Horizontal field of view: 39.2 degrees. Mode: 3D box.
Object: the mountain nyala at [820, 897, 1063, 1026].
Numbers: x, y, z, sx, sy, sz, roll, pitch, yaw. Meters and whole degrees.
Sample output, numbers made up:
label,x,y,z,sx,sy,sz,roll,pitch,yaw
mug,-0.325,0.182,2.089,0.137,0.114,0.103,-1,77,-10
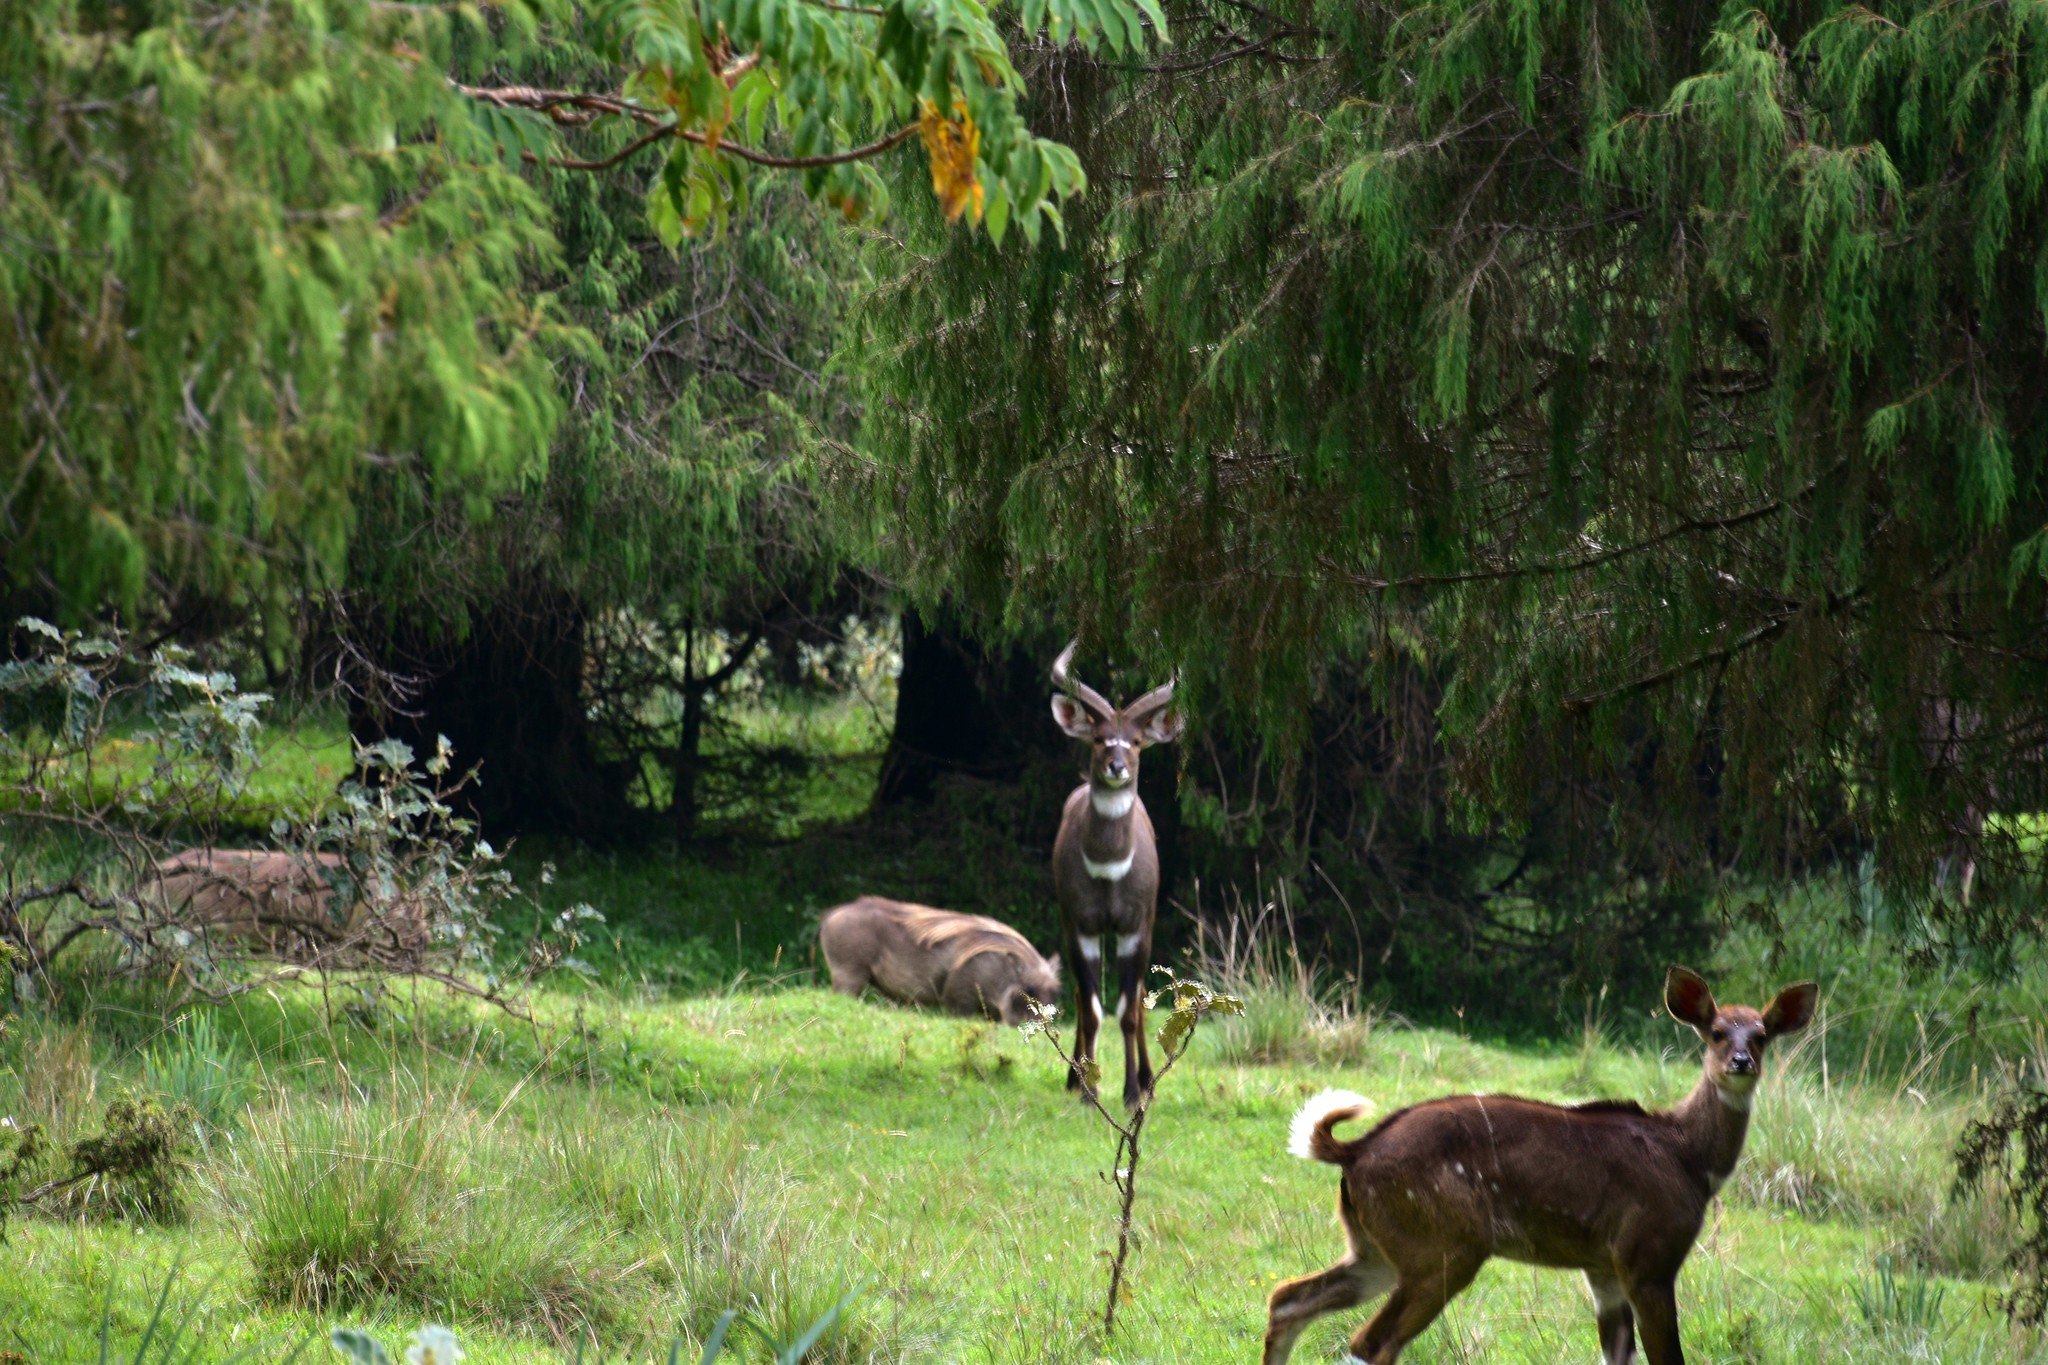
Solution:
label,x,y,z,sx,sy,sz,roll,pitch,yaw
mountain nyala,-0.621,1.957,20.267,2.042,0.765,0.568,7,2,40
